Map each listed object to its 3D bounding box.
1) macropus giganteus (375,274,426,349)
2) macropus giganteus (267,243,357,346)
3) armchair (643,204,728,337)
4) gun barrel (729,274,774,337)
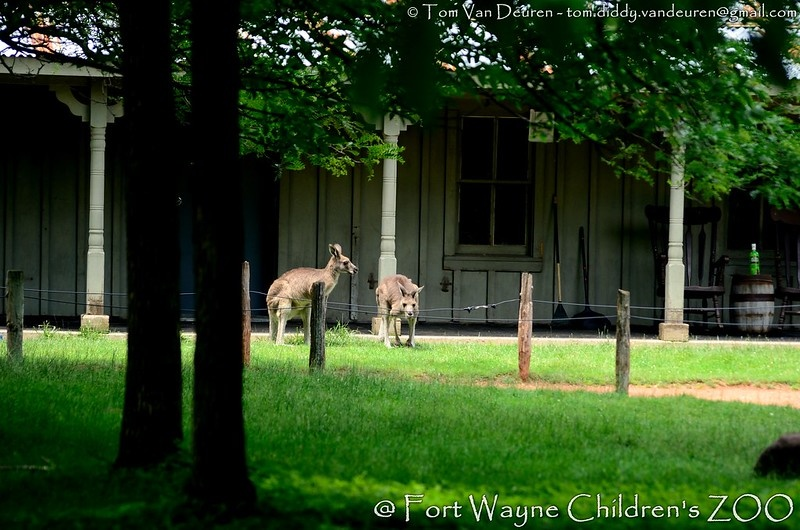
[{"bbox_3d":[-0.020,0.678,16.083,0.622,1.022,1.292,1,6,-2],"label":"macropus giganteus"},{"bbox_3d":[-1.508,0.414,16.178,0.746,1.440,1.471,6,7,34],"label":"macropus giganteus"},{"bbox_3d":[5.052,-0.028,18.000,1.584,2.965,2.287,0,0,14],"label":"armchair"},{"bbox_3d":[5.838,0.627,17.516,0.651,1.010,0.667,2,6,0],"label":"gun barrel"}]
